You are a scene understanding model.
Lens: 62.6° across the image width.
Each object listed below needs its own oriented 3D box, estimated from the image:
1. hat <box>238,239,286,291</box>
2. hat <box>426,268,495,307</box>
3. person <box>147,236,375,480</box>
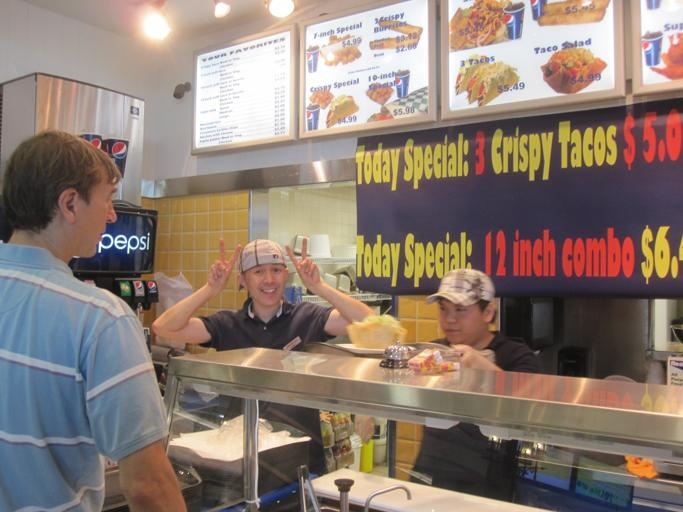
[{"bbox_3d":[-0.425,0.025,2.881,0.227,0.149,0.226,-21,-20,35],"label":"hat"},{"bbox_3d":[0.536,0.139,2.526,0.239,0.167,0.330,0,-4,34],"label":"hat"},{"bbox_3d":[-0.312,0.367,2.276,0.783,1.209,0.315,-4,-21,-8],"label":"person"}]
